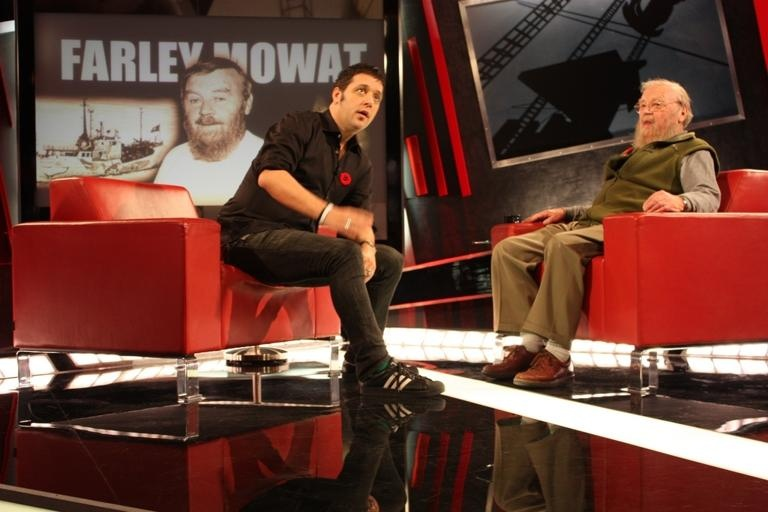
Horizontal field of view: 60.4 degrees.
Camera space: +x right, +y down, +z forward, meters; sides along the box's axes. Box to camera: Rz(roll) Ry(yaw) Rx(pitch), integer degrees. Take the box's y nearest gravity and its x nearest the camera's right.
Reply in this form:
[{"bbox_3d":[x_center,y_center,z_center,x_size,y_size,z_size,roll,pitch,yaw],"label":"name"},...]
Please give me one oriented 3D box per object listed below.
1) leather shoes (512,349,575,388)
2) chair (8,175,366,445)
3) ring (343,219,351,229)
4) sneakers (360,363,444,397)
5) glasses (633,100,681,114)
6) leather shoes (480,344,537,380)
[{"bbox_3d":[0.739,0.532,3.046,0.299,0.125,0.130,4,-6,-43],"label":"leather shoes"},{"bbox_3d":[-0.880,0.148,3.317,1.126,1.275,1.436,-2,-2,23],"label":"chair"},{"bbox_3d":[-0.168,-0.143,2.964,0.009,0.036,0.039,10,1,22],"label":"ring"},{"bbox_3d":[0.080,0.546,2.915,0.383,0.146,0.139,2,-1,-1],"label":"sneakers"},{"bbox_3d":[1.484,-0.787,3.501,0.181,0.049,0.170,-1,3,-31],"label":"glasses"},{"bbox_3d":[0.621,0.525,3.269,0.349,0.138,0.118,-2,0,-21],"label":"leather shoes"}]
